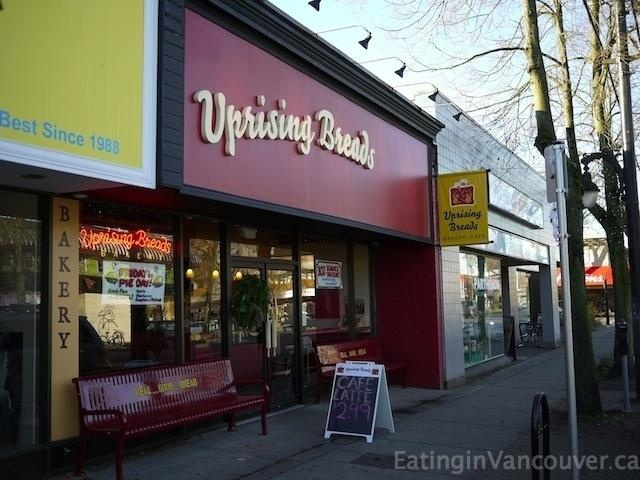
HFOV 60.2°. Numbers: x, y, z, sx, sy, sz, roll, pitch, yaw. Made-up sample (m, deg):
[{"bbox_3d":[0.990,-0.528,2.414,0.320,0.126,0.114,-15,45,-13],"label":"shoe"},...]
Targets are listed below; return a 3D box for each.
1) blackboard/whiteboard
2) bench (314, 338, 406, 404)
[{"bbox_3d":[0.620,2.698,9.343,0.826,1.364,0.726,0,0,29],"label":"blackboard/whiteboard"},{"bbox_3d":[0.978,2.944,12.743,0.822,1.307,2.638,-9,-11,38],"label":"bench"}]
